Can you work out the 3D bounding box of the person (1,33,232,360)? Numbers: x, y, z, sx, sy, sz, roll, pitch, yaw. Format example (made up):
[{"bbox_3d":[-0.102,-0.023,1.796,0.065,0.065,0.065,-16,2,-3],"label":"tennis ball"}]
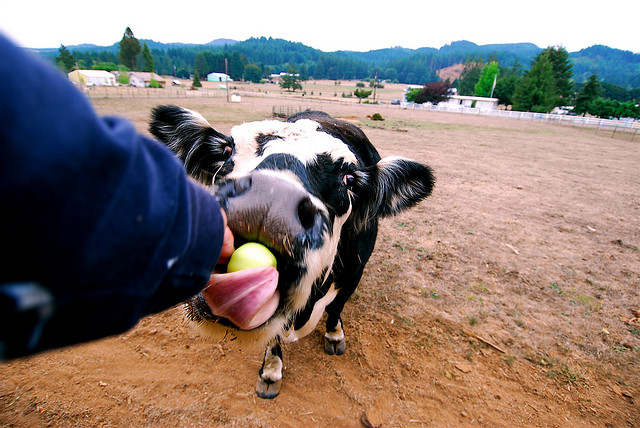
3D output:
[{"bbox_3d":[-1.368,-0.035,3.471,1.398,1.121,2.437,-32,-6,6],"label":"person"}]

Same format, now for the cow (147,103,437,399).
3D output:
[{"bbox_3d":[-0.400,0.290,5.056,3.478,2.996,2.696,-17,32,-42],"label":"cow"}]
